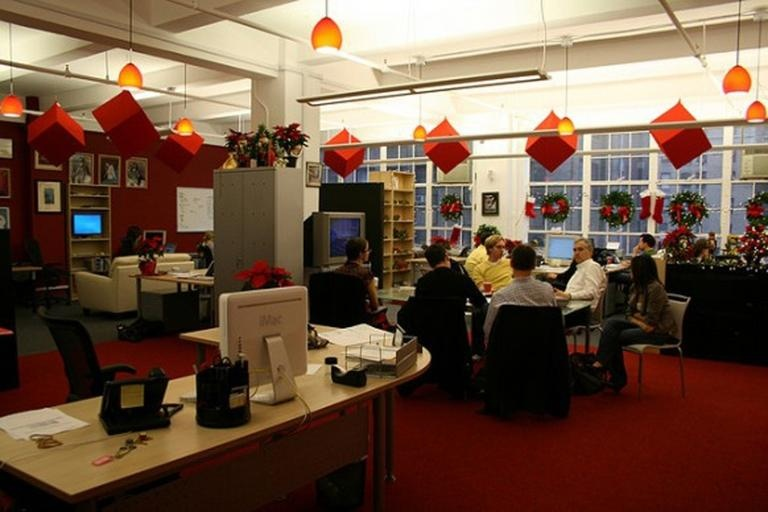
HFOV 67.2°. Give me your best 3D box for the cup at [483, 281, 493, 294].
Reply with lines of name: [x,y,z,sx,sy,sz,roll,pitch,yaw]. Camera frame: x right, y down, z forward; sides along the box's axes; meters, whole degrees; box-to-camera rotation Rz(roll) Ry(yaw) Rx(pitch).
cup: [1.361,0.419,7.591,0.130,0.135,0.133,0,-4,0]

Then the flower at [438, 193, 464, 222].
flower: [1.795,-1.231,14.915,0.625,0.660,0.273,19,14,37]

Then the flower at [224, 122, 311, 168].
flower: [-1.583,-1.488,7.761,1.048,0.559,0.485,-1,13,-5]

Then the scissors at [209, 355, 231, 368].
scissors: [-1.126,0.729,3.966,0.108,0.107,0.112,3,1,21]

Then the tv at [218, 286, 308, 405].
tv: [-0.854,0.641,4.052,0.775,0.820,0.272,-4,8,-39]

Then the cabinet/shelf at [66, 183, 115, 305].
cabinet/shelf: [-6.730,-0.348,13.148,0.296,2.507,0.912,2,3,40]

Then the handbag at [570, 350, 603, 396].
handbag: [2.383,1.411,6.948,0.339,0.507,0.524,-10,-5,28]

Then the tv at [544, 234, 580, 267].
tv: [3.380,-0.132,10.830,0.613,0.613,0.228,6,25,22]

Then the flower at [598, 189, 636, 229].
flower: [5.088,-1.033,12.583,0.673,0.751,0.311,5,14,22]

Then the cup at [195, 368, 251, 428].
cup: [-1.128,0.969,4.004,0.398,0.371,0.393,-3,-7,0]

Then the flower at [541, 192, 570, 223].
flower: [3.968,-1.169,13.369,0.657,0.664,0.252,-2,-7,11]

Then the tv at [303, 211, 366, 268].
tv: [-0.759,-0.250,8.768,0.525,0.785,0.959,2,4,37]

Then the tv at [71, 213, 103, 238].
tv: [-6.725,-0.708,13.103,0.130,0.573,0.727,12,18,42]

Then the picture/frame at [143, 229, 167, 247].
picture/frame: [-4.565,-0.358,11.465,0.261,0.459,0.495,-3,-1,35]

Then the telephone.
telephone: [-1.691,0.966,3.907,0.451,0.341,0.396,0,-1,-23]

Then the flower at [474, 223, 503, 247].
flower: [2.254,-0.561,12.890,0.685,0.687,0.678,3,1,-10]
